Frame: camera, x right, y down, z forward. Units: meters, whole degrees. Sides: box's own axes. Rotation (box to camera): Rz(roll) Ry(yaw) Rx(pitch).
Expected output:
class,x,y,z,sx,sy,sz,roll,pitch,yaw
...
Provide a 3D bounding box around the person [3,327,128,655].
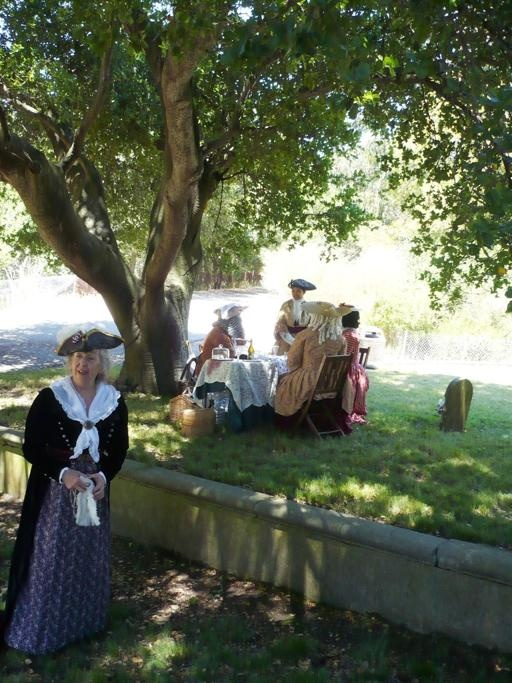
class,x,y,z,sx,sy,sz,roll,pitch,yaw
person,-0.890,0.725,2.634,0.669,1.544,0.367,-5,9,-30

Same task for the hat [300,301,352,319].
class,x,y,z,sx,sy,sz,roll,pitch,yaw
hat,0.784,-0.363,6.395,0.330,0.120,0.303,-5,-8,23

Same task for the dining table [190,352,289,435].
class,x,y,z,sx,sy,sz,roll,pitch,yaw
dining table,-0.207,0.683,6.598,0.641,0.522,0.986,-9,-32,34

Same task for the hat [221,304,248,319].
class,x,y,z,sx,sy,sz,roll,pitch,yaw
hat,-0.317,-0.422,7.656,0.247,0.068,0.256,-13,7,34

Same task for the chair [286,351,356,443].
class,x,y,z,sx,sy,sz,roll,pitch,yaw
chair,0.718,0.618,6.513,0.820,0.950,0.672,1,5,28
